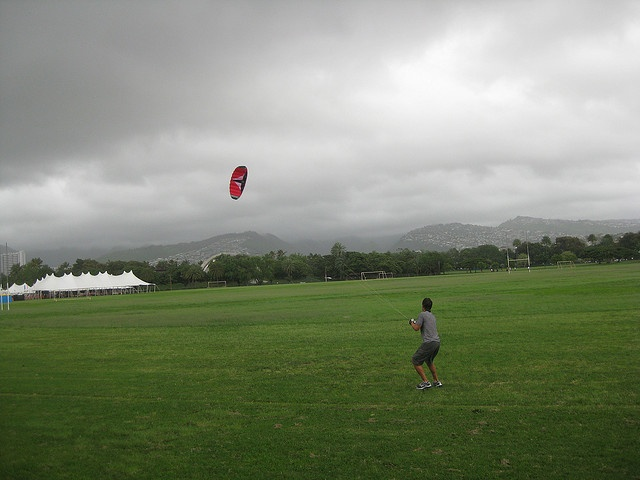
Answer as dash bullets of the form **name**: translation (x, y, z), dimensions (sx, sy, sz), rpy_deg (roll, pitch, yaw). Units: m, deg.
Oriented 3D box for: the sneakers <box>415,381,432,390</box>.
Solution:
- **sneakers**: translation (2.862, 4.013, 14.892), dimensions (0.420, 0.189, 0.177), rpy_deg (-4, -9, -4)
